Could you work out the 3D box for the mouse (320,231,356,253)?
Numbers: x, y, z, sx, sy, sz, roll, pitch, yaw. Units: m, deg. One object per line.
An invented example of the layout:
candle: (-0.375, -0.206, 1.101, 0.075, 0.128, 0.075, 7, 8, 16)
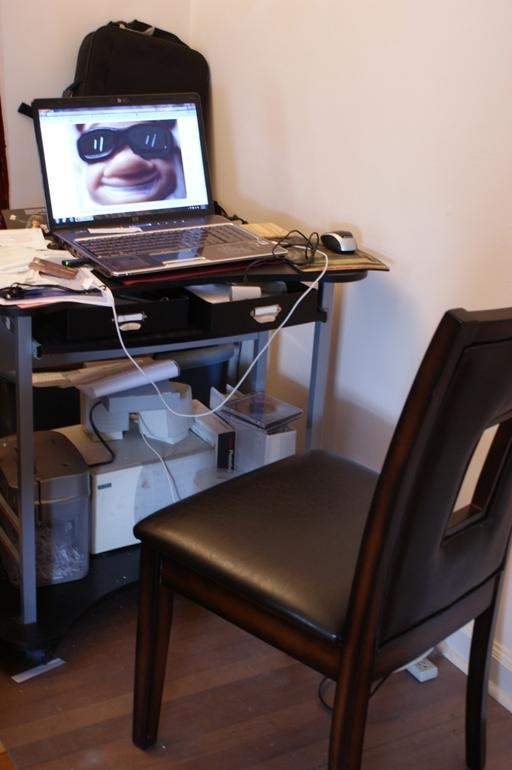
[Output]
mouse: (0.179, -0.306, 1.404, 0.041, 0.034, 0.074, -9, 31, -20)
